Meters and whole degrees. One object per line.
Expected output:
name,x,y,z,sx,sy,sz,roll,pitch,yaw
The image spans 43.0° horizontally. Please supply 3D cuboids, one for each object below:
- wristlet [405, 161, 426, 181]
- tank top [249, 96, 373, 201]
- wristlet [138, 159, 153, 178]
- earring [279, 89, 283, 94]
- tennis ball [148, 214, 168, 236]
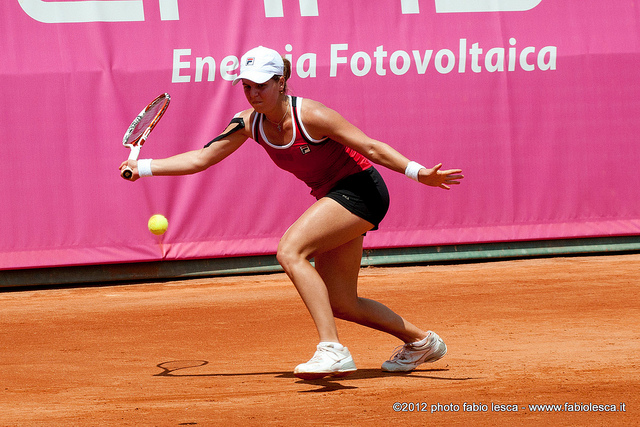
wristlet,0.721,-0.335,6.145,0.145,0.123,0.140,17,-15,-25
tank top,-0.065,-0.516,6.420,0.613,0.858,0.518,-11,21,37
wristlet,-1.410,-0.370,6.523,0.131,0.118,0.126,0,2,2
earring,-0.296,-0.935,6.204,0.010,0.033,0.038,2,10,28
tennis ball,-1.996,0.157,10.074,0.250,0.266,0.235,6,-29,3
